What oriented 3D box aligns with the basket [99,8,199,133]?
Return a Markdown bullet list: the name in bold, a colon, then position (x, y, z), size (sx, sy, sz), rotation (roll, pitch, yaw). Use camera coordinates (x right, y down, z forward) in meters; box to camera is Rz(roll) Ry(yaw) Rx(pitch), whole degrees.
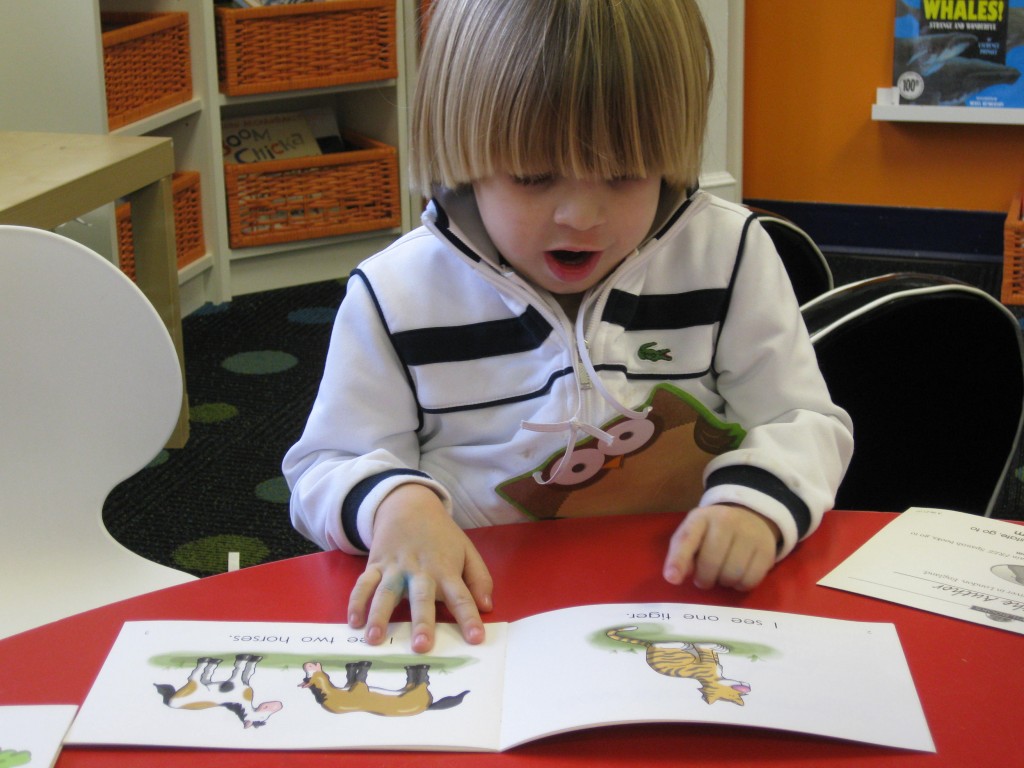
- **basket**: position (-1.148, -0.957, 2.780), size (0.370, 0.240, 0.374), rotation (-15, 34, -23)
